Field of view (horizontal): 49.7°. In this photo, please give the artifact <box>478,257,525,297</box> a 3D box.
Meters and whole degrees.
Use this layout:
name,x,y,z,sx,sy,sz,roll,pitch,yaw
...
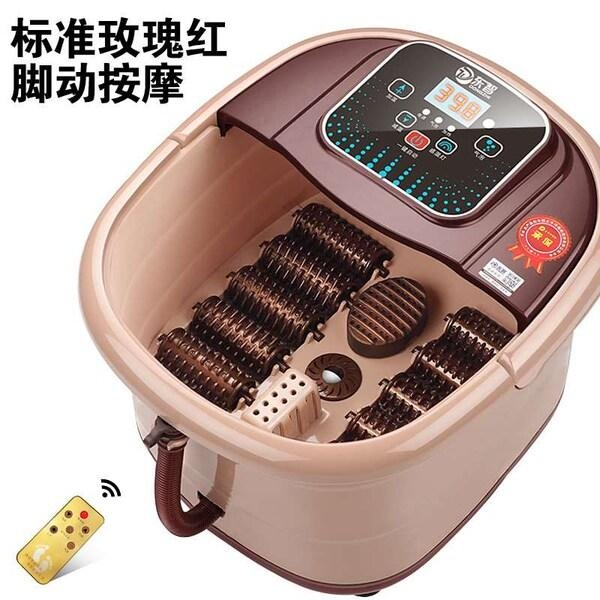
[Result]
name,x,y,z,sx,sy,sz,roll,pitch,yaw
artifact,0.335,-0.036,1.105,0.063,0.053,0.037,12,5,34
